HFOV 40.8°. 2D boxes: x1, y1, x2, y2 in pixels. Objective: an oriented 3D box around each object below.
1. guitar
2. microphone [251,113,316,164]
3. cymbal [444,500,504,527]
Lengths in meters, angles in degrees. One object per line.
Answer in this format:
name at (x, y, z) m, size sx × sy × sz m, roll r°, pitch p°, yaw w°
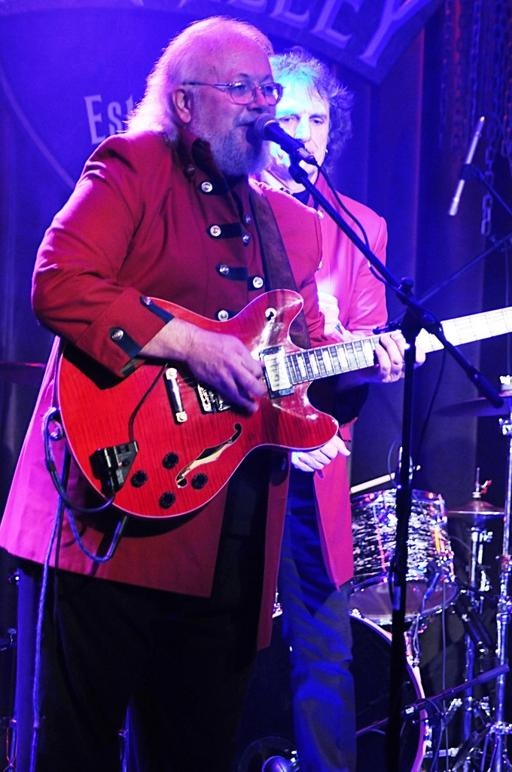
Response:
guitar at (-0.060, 0.015, 1.561) m, size 0.793 × 0.514 × 0.094 m, roll 2°, pitch -6°, yaw -38°
microphone at (0.047, -0.594, 1.622) m, size 0.069 × 0.074 × 0.241 m, roll -29°, pitch 39°, yaw -19°
cymbal at (1.002, 0.604, 3.154) m, size 0.174 × 0.071 × 0.178 m, roll 0°, pitch 15°, yaw -6°
